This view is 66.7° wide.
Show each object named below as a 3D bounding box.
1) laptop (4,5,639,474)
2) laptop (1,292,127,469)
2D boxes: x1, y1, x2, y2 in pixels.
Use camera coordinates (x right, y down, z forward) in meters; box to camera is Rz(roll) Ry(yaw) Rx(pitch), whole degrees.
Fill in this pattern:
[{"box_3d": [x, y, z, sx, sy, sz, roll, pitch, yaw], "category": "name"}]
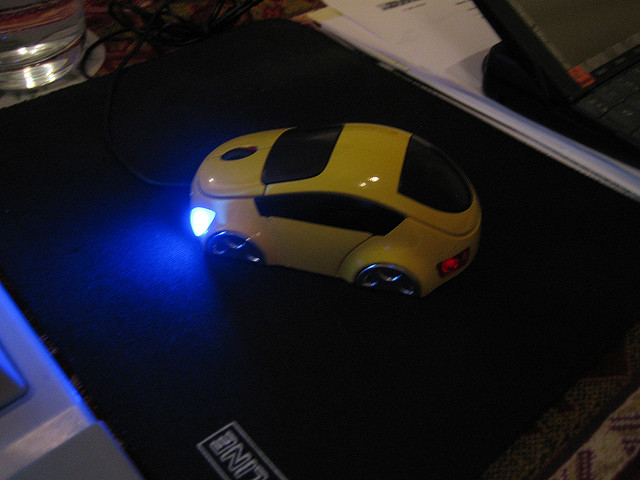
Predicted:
[{"box_3d": [-0.049, 0.067, 0.640, 0.633, 0.145, 0.468, 22, 69, 15], "category": "laptop"}, {"box_3d": [-0.232, 0.132, 0.422, 0.102, 0.033, 0.138, -18, 59, -38], "category": "laptop"}]
